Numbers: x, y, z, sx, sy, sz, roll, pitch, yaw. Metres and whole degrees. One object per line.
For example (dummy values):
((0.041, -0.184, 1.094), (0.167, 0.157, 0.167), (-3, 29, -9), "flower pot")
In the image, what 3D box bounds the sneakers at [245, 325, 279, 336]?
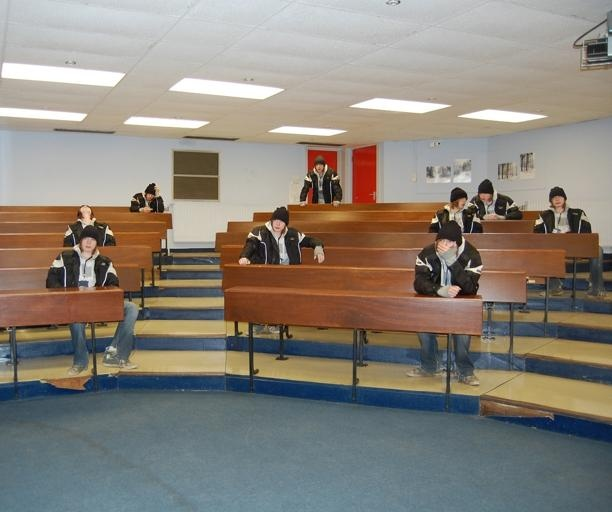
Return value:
((-0.442, 0.789, 5.515), (0.377, 0.153, 0.118), (-1, 3, 7), "sneakers")

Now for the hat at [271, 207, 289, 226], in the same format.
((-0.275, -0.437, 5.563), (0.152, 0.174, 0.199), (23, -4, 3), "hat")

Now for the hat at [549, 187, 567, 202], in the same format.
((3.179, -0.779, 6.548), (0.150, 0.186, 0.448), (3, 6, 22), "hat")

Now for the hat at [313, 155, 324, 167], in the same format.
((0.217, -1.644, 8.963), (0.148, 0.169, 0.200), (0, 0, 0), "hat")

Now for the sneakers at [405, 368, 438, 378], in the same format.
((0.986, 0.975, 4.394), (0.243, 0.097, 0.091), (5, -3, 7), "sneakers")

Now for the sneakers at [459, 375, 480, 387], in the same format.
((1.318, 1.000, 4.156), (0.071, 0.056, 0.134), (-2, -5, -41), "sneakers")

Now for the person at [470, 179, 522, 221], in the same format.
((2.557, -0.711, 7.174), (0.846, 0.660, 0.500), (8, 23, 43), "person")

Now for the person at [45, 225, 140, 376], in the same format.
((-1.940, 0.366, 4.700), (0.877, 1.255, 0.605), (3, 6, 28), "person")

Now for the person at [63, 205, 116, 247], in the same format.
((-2.676, -0.347, 6.356), (0.597, 0.777, 0.329), (-1, -10, -20), "person")

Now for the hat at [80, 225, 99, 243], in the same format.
((-2.016, -0.193, 4.833), (0.157, 0.168, 0.174), (7, -3, -16), "hat")

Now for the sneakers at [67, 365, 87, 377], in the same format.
((-1.988, 0.985, 4.498), (0.147, 0.057, 0.169), (-2, 6, -23), "sneakers")

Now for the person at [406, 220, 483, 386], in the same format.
((1.129, 0.376, 4.191), (0.555, 1.309, 0.753), (2, 6, 13), "person")

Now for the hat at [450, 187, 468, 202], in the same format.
((1.724, -0.688, 5.931), (0.201, 0.190, 0.198), (-9, 14, -41), "hat")

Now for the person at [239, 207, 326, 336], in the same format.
((-0.300, -0.025, 5.644), (0.931, 0.991, 0.557), (-6, 32, -13), "person")

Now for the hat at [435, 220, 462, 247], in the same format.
((1.159, -0.179, 4.226), (0.158, 0.183, 0.211), (10, -13, 31), "hat")
